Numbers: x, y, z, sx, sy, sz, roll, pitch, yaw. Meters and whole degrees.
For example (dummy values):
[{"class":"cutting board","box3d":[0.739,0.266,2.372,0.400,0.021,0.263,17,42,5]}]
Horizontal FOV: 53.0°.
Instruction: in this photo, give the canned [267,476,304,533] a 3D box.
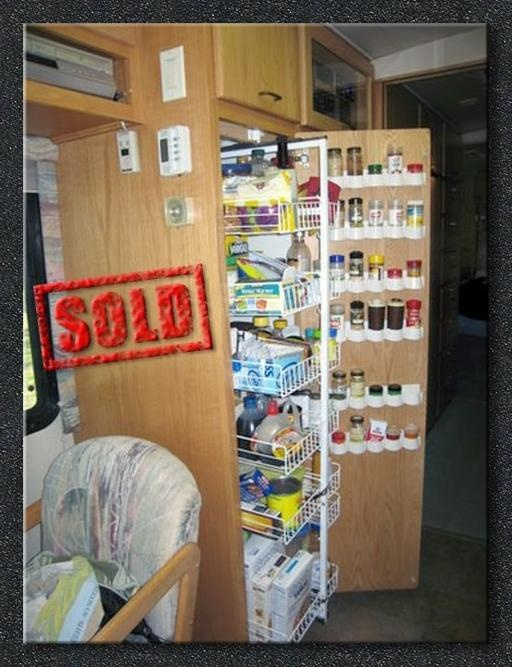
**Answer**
[{"class":"canned","box3d":[0.082,0.467,1.402,0.098,0.106,0.097,-8,11,-8]}]
